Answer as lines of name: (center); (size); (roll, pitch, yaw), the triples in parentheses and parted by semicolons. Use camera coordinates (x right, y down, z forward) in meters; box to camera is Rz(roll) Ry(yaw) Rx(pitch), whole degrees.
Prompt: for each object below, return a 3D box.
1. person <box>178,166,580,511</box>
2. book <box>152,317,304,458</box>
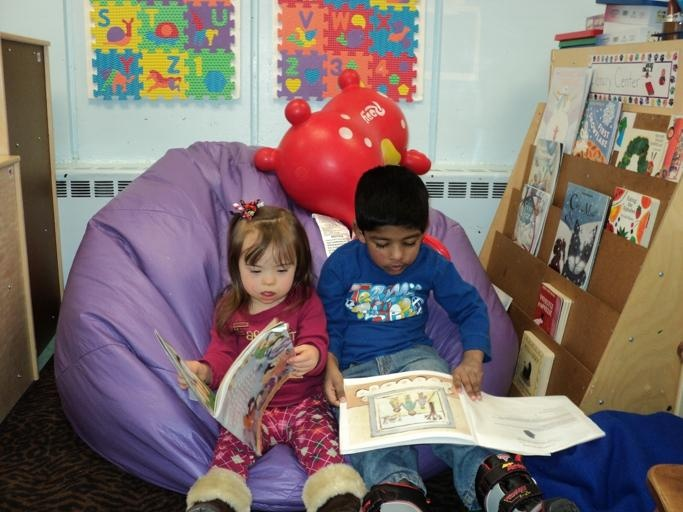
person: (0.010, 0.114, 1.620); (0.626, 0.997, 1.208); (-1, 16, -11)
book: (-0.260, 0.375, 1.269); (0.311, 0.432, 0.146); (-14, 21, -36)
